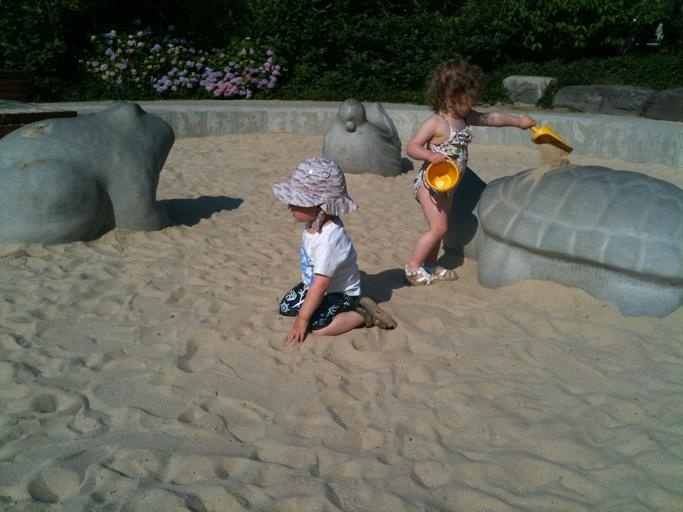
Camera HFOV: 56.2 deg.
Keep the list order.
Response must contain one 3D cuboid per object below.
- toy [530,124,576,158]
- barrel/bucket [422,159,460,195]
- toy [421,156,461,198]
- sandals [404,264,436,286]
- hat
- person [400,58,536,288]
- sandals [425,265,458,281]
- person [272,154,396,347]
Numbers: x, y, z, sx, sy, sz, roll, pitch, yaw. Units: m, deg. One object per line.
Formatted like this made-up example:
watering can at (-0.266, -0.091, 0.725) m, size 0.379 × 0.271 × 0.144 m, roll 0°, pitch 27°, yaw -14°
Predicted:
toy at (1.473, -0.771, 4.576) m, size 0.353 × 0.131 × 0.229 m, roll 22°, pitch 37°, yaw -26°
barrel/bucket at (0.634, -0.557, 4.264) m, size 0.172 × 0.235 × 0.321 m, roll -3°, pitch 21°, yaw -21°
toy at (0.649, -0.562, 4.352) m, size 0.274 × 0.184 × 0.267 m, roll -1°, pitch 16°, yaw 11°
sandals at (0.553, 0.119, 4.534) m, size 0.196 × 0.084 × 0.120 m, roll 12°, pitch 32°, yaw 26°
hat at (-0.142, -0.456, 3.732) m, size 0.387 × 0.215 × 0.454 m, roll -1°, pitch -7°, yaw 32°
person at (0.757, -0.574, 4.484) m, size 0.551 × 1.539 × 0.841 m, roll 20°, pitch 24°, yaw 35°
sandals at (0.719, 0.115, 4.574) m, size 0.201 × 0.079 × 0.100 m, roll 0°, pitch 12°, yaw 8°
person at (-0.119, -0.065, 3.935) m, size 0.719 × 1.030 × 0.632 m, roll -9°, pitch 19°, yaw -23°
